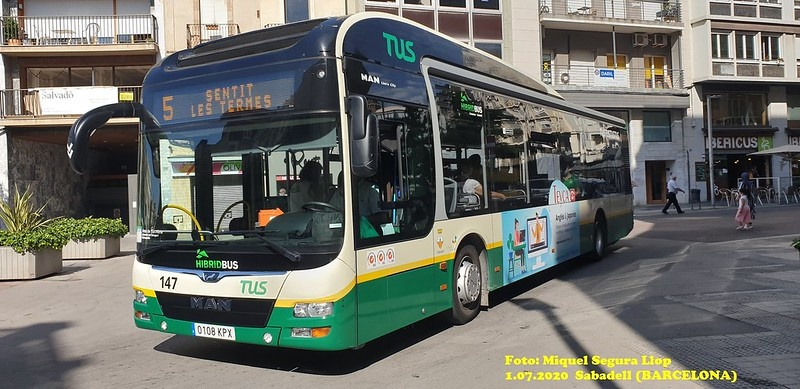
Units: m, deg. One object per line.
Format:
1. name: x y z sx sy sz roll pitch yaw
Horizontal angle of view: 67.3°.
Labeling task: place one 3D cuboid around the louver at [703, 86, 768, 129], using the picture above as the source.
1. louver: 26.168 -6.862 47.628 4.250 2.142 0.329 0 -3 -8

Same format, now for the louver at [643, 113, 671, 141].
1. louver: 19.638 -5.210 46.493 2.426 2.145 0.175 -1 7 -4

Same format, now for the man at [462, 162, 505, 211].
1. man: 2.708 -0.197 19.903 1.567 1.629 1.137 -2 3 -28

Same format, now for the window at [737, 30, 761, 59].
1. window: 27.024 -11.669 46.938 2.511 2.465 0.309 1 5 1
